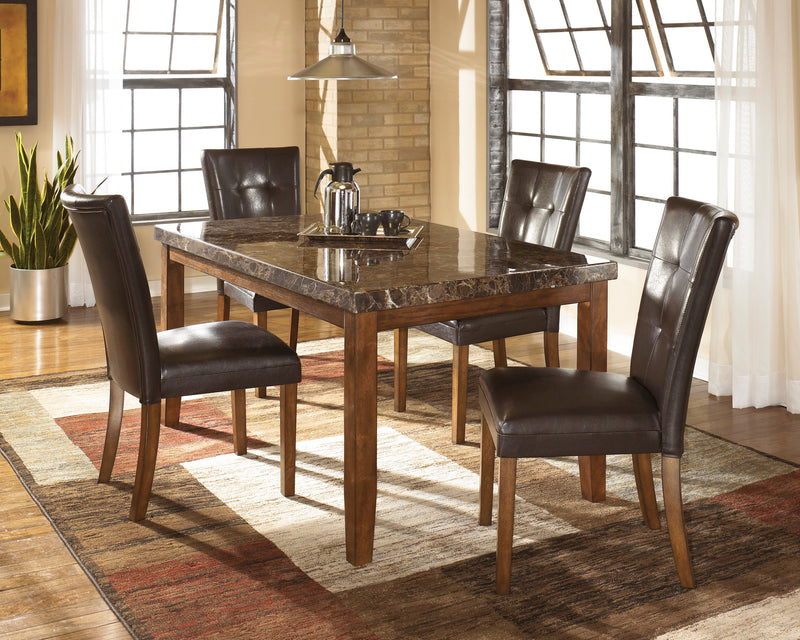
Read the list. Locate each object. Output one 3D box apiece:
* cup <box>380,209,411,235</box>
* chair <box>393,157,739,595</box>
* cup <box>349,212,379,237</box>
[{"bbox_3d":[0.007,-0.415,3.034,0.184,0.097,0.112,0,2,-21],"label":"cup"},{"bbox_3d":[0.581,0.196,2.126,0.639,1.105,0.490,-1,14,-3],"label":"chair"},{"bbox_3d":[-0.134,-0.391,2.946,0.141,0.076,0.086,-6,14,-25],"label":"cup"}]
